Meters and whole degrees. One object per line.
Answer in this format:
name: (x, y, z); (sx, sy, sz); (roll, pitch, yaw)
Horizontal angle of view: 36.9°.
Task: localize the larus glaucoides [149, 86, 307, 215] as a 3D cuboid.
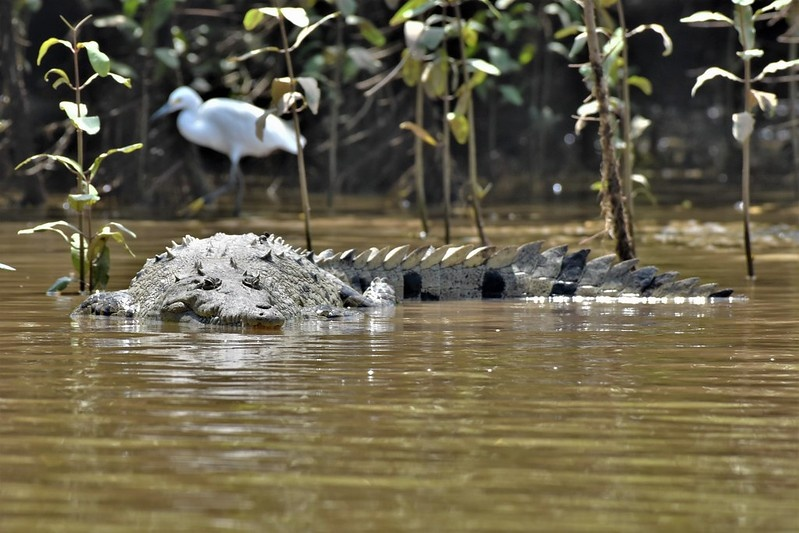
larus glaucoides: (-1.510, -1.273, 12.596); (1.822, 1.303, 2.326); (4, 11, 39)
